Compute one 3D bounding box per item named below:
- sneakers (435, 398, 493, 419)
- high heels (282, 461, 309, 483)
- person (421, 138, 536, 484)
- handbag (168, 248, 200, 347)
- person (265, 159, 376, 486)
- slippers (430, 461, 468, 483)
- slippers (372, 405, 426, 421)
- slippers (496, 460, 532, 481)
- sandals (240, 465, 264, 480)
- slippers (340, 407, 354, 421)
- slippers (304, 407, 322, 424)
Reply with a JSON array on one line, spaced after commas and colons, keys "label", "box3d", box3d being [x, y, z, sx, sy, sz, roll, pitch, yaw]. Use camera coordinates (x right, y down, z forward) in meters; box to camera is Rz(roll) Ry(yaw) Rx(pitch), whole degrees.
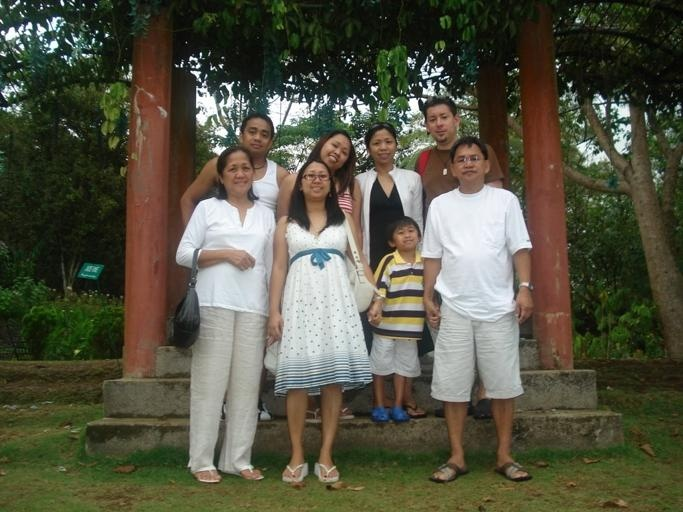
[{"label": "sneakers", "box3d": [1.054, 1.324, 5.355, 0.526, 0.234, 0.186, 1, -7, 7]}, {"label": "high heels", "box3d": [-0.349, 1.694, 4.767, 0.230, 0.152, 0.242, -1, 2, -16]}, {"label": "person", "box3d": [1.101, 0.384, 4.924, 0.885, 2.755, 0.508, 0, 1, 7]}, {"label": "handbag", "box3d": [-1.222, 0.340, 4.767, 0.198, 0.772, 0.253, -1, 1, -14]}, {"label": "person", "box3d": [-0.185, 0.490, 4.906, 0.806, 2.547, 0.567, 0, 1, 1]}, {"label": "slippers", "box3d": [0.838, 1.716, 4.805, 0.300, 0.084, 0.115, 3, -2, -45]}, {"label": "slippers", "box3d": [0.502, 1.383, 5.271, 0.421, 0.119, 0.175, -7, -4, 18]}, {"label": "slippers", "box3d": [1.344, 1.690, 4.774, 0.110, 0.079, 0.208, -1, -8, -22]}, {"label": "sandals", "box3d": [-0.714, 1.729, 4.847, 0.192, 0.081, 0.179, -1, 2, -23]}, {"label": "slippers", "box3d": [0.040, 1.406, 5.379, 0.134, 0.178, 0.407, 0, -17, 0]}, {"label": "slippers", "box3d": [-0.247, 1.421, 5.378, 0.075, 0.093, 0.232, 0, -2, 28]}]
